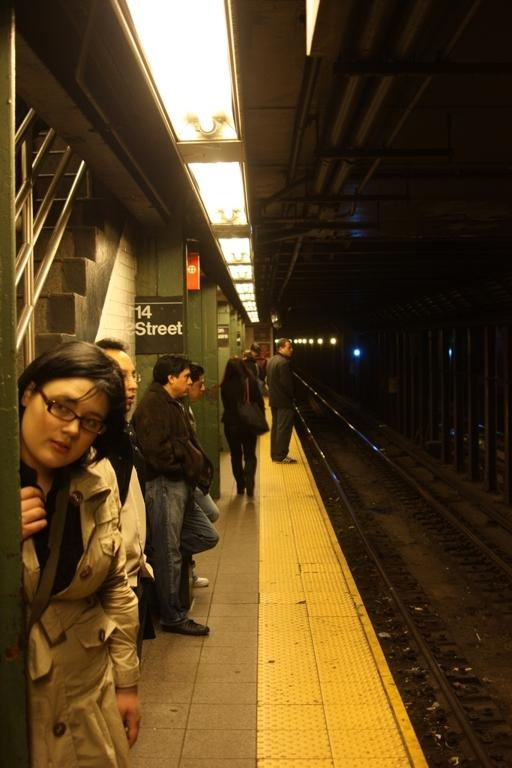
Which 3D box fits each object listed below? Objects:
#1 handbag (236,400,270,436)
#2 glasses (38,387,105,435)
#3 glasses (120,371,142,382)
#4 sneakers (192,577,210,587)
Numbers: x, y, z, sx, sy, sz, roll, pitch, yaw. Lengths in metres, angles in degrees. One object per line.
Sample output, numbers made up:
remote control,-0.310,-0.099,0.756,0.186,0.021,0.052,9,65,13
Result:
handbag,0.007,0.467,7.657,0.445,0.424,0.543,8,1,17
glasses,-0.423,0.069,1.343,0.149,0.083,0.059,8,1,-20
glasses,-0.652,-0.043,3.065,0.086,0.034,0.090,6,-1,-14
sneakers,-0.466,1.652,4.934,0.143,0.074,0.056,-2,15,-15
